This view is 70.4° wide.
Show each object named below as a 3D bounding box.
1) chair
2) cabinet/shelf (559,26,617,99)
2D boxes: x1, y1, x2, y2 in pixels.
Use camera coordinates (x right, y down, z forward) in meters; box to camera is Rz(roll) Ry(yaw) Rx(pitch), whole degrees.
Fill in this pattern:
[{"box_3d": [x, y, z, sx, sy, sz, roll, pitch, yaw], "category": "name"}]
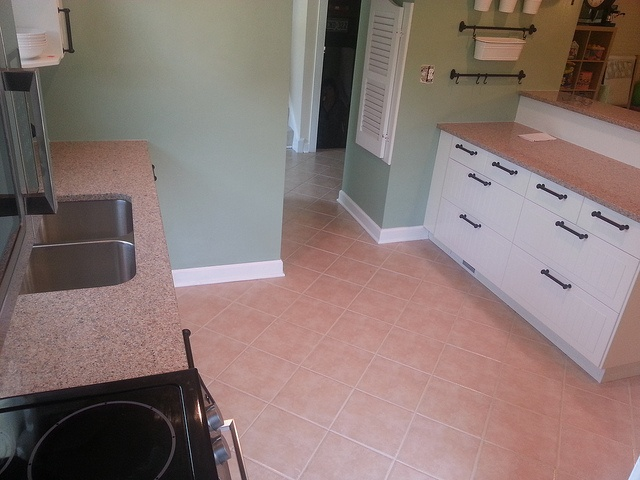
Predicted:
[{"box_3d": [1.183, -0.210, 3.258, 0.383, 0.801, 0.791, -10, 42, -20], "category": "chair"}, {"box_3d": [3.331, -2.258, 5.789, 0.704, 0.879, 0.355, -18, 35, -30], "category": "cabinet/shelf"}]
